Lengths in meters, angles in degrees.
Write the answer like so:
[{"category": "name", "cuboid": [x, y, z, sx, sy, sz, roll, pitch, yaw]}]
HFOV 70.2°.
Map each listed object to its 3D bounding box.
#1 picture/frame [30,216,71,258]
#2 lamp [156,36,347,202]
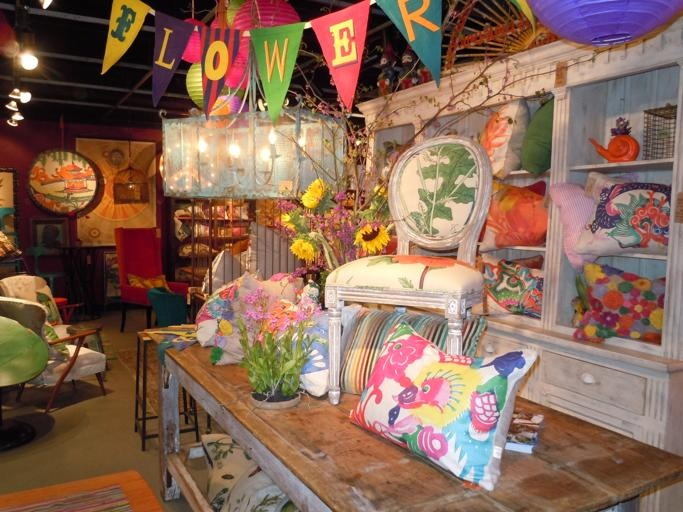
[{"category": "picture/frame", "cuboid": [-4.818, -0.304, 8.038, 0.697, 0.757, 0.080, -2, 6, -35]}, {"category": "lamp", "cuboid": [-0.500, -0.530, 2.566, 0.973, 0.433, 0.304, 4, 11, 18]}]
